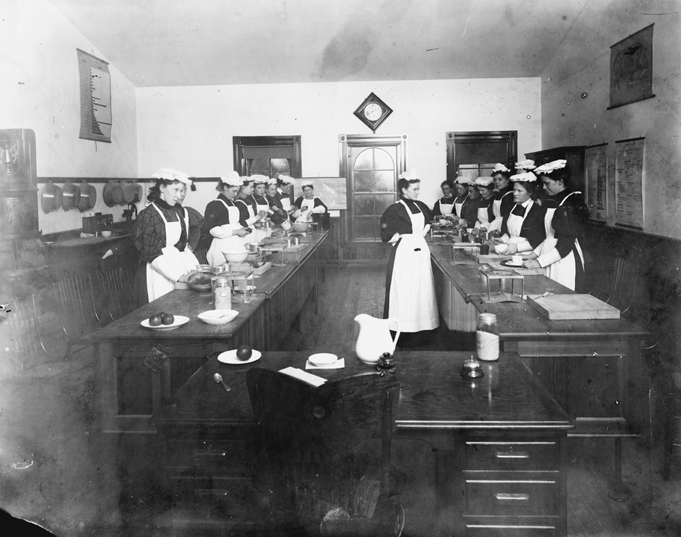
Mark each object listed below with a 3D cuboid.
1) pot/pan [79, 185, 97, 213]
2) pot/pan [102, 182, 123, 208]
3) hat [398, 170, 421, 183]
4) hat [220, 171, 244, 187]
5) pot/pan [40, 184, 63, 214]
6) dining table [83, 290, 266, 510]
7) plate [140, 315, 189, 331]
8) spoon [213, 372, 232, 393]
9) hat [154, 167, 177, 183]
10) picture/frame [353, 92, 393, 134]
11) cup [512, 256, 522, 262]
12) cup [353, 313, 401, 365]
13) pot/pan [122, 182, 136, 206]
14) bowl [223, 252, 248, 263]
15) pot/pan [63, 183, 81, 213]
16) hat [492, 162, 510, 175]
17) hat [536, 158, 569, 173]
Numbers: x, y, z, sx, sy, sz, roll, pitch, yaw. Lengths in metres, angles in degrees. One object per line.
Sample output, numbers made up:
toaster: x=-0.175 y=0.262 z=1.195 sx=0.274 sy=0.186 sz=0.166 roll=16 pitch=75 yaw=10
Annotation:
pot/pan: x=-1.056 y=-0.301 z=2.512 sx=0.062 sy=0.112 sz=0.209 roll=-1 pitch=8 yaw=-18
pot/pan: x=-1.019 y=-0.336 z=2.691 sx=0.041 sy=0.111 sz=0.129 roll=1 pitch=7 yaw=6
hat: x=0.481 y=-0.635 z=4.108 sx=0.133 sy=0.076 sz=0.162 roll=0 pitch=7 yaw=-10
hat: x=-0.519 y=-0.433 z=2.872 sx=0.096 sy=0.074 sz=0.123 roll=-1 pitch=7 yaw=-11
pot/pan: x=-1.181 y=-0.288 z=2.468 sx=0.093 sy=0.125 sz=0.041 roll=2 pitch=7 yaw=9
dining table: x=-0.756 y=0.794 z=2.978 sx=0.685 sy=0.711 sz=1.402 roll=-1 pitch=12 yaw=-2
plate: x=-0.767 y=0.234 z=2.653 sx=0.211 sy=0.050 sz=0.178 roll=-2 pitch=8 yaw=-21
spoon: x=-0.445 y=0.432 z=2.257 sx=0.034 sy=0.021 sz=0.118 roll=-3 pitch=20 yaw=-23
hat: x=-0.818 y=-0.443 z=2.817 sx=0.109 sy=0.065 sz=0.065 roll=0 pitch=7 yaw=-8
picture/frame: x=0.177 y=-0.865 z=3.284 sx=0.123 sy=0.029 sz=0.121 roll=37 pitch=-42 yaw=-18
cup: x=0.981 y=-0.058 z=3.355 sx=0.042 sy=0.045 sz=0.047 roll=0 pitch=1 yaw=4
cup: x=0.171 y=0.280 z=2.414 sx=0.210 sy=0.230 sz=0.145 roll=1 pitch=-2 yaw=-10
pot/pan: x=-0.967 y=-0.354 z=2.780 sx=0.087 sy=0.112 sz=0.076 roll=-1 pitch=5 yaw=-20
bowl: x=-0.577 y=-0.063 z=3.312 sx=0.122 sy=0.075 sz=0.122 roll=1 pitch=7 yaw=0
pot/pan: x=-1.110 y=-0.297 z=2.478 sx=0.067 sy=0.110 sz=0.065 roll=-2 pitch=7 yaw=-24
hat: x=1.376 y=-0.863 z=5.145 sx=0.167 sy=0.067 sz=0.191 roll=2 pitch=-2 yaw=9
hat: x=1.130 y=-0.550 z=3.222 sx=0.173 sy=0.084 sz=0.119 roll=5 pitch=8 yaw=28
